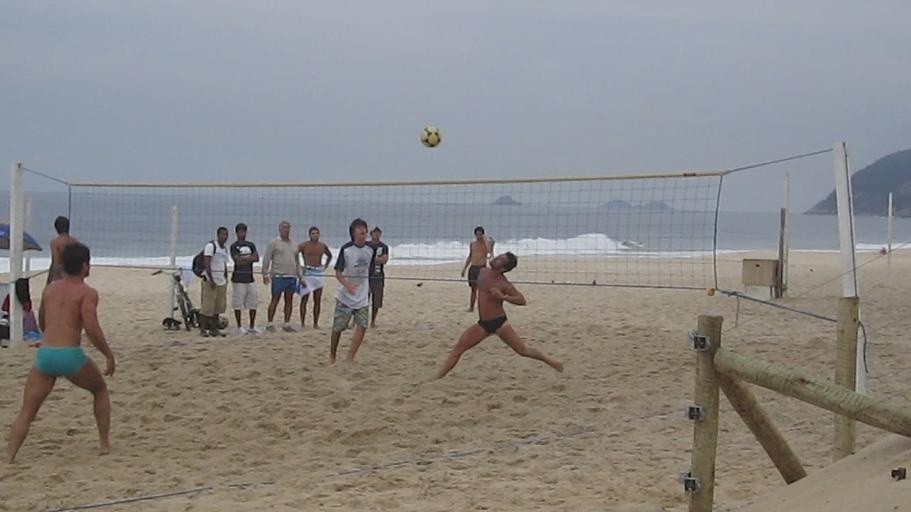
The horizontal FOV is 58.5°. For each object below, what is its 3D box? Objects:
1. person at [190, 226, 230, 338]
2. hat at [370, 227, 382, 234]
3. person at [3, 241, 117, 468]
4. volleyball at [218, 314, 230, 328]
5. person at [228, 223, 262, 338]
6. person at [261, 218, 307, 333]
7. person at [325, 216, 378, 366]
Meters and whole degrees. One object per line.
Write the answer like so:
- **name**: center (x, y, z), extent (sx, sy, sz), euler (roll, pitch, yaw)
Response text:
- **person**: center (-4.510, 0.475, 15.119), extent (0.573, 2.014, 0.515), euler (-3, 7, -33)
- **hat**: center (-1.487, -0.476, 15.273), extent (0.248, 0.110, 0.332), euler (0, -6, -6)
- **person**: center (-5.583, 1.316, 11.600), extent (1.306, 2.976, 0.643), euler (-2, 6, -21)
- **volleyball**: center (-4.480, 1.274, 15.625), extent (0.246, 0.218, 0.189), euler (-1, -3, 0)
- **person**: center (-4.045, 0.392, 15.629), extent (0.501, 2.060, 1.128), euler (-1, 6, -16)
- **person**: center (-3.261, 0.390, 15.463), extent (0.733, 2.074, 0.654), euler (-1, 6, -12)
- **person**: center (-1.786, 0.589, 13.905), extent (0.693, 2.448, 0.534), euler (1, 6, 1)
